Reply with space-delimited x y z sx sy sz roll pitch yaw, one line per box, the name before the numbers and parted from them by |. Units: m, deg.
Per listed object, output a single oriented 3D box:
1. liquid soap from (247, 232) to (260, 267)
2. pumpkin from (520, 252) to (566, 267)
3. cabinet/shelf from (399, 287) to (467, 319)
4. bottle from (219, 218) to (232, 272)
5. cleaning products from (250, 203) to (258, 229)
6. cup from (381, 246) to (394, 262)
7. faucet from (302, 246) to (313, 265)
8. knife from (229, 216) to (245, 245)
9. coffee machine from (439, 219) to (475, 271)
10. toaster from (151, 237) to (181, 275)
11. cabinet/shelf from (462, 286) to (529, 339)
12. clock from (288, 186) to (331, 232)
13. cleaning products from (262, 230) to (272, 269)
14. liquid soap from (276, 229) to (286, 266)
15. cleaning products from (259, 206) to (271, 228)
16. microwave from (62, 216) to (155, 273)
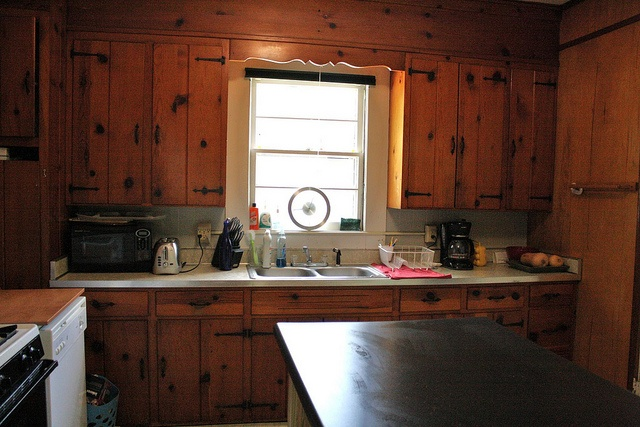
liquid soap | -0.584 0.308 4.916 0.090 0.312 0.153 -2 4 -14
pumpkin | 1.957 0.414 4.926 0.190 0.070 0.178 -2 2 -8
cabinet/shelf | 1.035 0.804 4.754 0.549 0.249 0.371 -8 -38 32
bottle | -0.806 0.269 4.704 0.114 0.424 0.077 -2 4 -9
cleaning products | -0.597 0.026 4.997 0.087 0.235 0.049 -2 4 -7
cup | 0.604 0.357 4.979 0.157 0.115 0.118 1 7 0
faucet | -0.120 0.374 4.995 0.084 0.157 0.093 -1 3 -1
knife | -0.727 0.163 4.782 0.054 0.196 0.149 3 -1 -18
coffee machine | 1.259 0.284 5.099 0.285 0.409 0.313 4 0 -22
toaster | -1.259 0.346 4.678 0.230 0.266 0.414 0 1 -3
cabinet/shelf | 1.451 0.846 4.850 0.615 0.509 0.316 -1 6 -15
clock | -0.103 -0.040 5.084 0.386 0.393 0.078 -2 4 -13
cleaning products | -0.469 0.313 4.901 0.090 0.330 0.191 -2 4 -6
liquid soap | -0.351 0.309 4.931 0.089 0.323 0.154 -1 4 -4
cleaning products | -0.498 0.038 5.033 0.080 0.202 0.085 1 4 32
microwave | -1.660 0.309 4.668 0.735 0.410 0.429 -1 -4 13
